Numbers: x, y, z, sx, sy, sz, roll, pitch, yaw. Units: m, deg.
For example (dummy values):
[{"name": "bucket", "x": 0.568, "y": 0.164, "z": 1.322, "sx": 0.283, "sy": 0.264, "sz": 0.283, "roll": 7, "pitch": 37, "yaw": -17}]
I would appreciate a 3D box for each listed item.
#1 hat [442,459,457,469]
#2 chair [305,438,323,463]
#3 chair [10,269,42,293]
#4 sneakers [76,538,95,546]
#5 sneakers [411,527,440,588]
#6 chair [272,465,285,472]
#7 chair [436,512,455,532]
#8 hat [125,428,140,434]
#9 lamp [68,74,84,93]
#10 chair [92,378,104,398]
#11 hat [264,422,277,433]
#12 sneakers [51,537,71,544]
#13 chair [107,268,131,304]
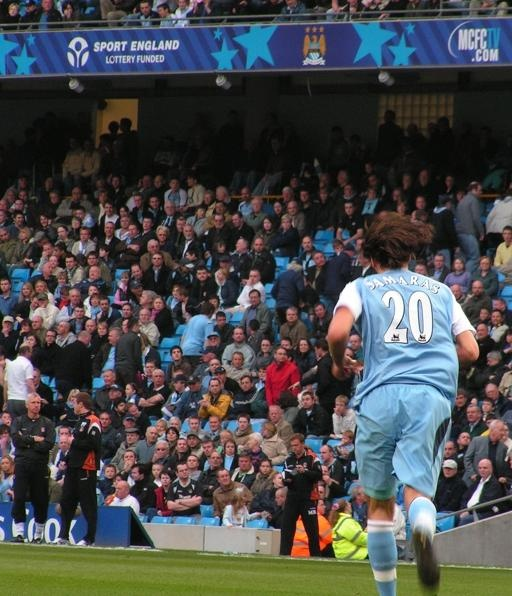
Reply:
[{"name": "hat", "x": 2.472, "y": 2.107, "z": 20.676, "sx": 0.178, "sy": 0.126, "sz": 0.320, "roll": -4, "pitch": -6, "yaw": 6}, {"name": "chair", "x": 0.796, "y": 2.008, "z": 22.192, "sx": 0.248, "sy": 0.329, "sz": 0.274, "roll": -1, "pitch": -14, "yaw": 5}, {"name": "chair", "x": -4.332, "y": -0.348, "z": 30.091, "sx": 0.486, "sy": 0.626, "sz": 0.553, "roll": -1, "pitch": -7, "yaw": 3}, {"name": "sneakers", "x": -2.058, "y": 2.938, "z": 19.598, "sx": 0.224, "sy": 0.091, "sz": 0.082, "roll": -4, "pitch": -11, "yaw": 17}, {"name": "sneakers", "x": 1.371, "y": 2.091, "z": 13.069, "sx": 0.173, "sy": 0.479, "sz": 0.212, "roll": -15, "pitch": -14, "yaw": -2}, {"name": "chair", "x": 0.301, "y": 2.258, "z": 21.543, "sx": 0.140, "sy": 0.104, "sz": 0.432, "roll": -4, "pitch": -6, "yaw": 0}, {"name": "chair", "x": 2.400, "y": 2.825, "z": 20.478, "sx": 0.253, "sy": 0.251, "sz": 0.944, "roll": -4, "pitch": -6, "yaw": 6}, {"name": "hat", "x": -1.737, "y": 1.865, "z": 22.872, "sx": 0.181, "sy": 0.083, "sz": 0.164, "roll": -3, "pitch": -6, "yaw": -5}, {"name": "lamp", "x": -3.498, "y": -4.154, "z": 31.420, "sx": 0.232, "sy": 0.253, "sz": 0.748, "roll": -3, "pitch": -6, "yaw": -3}, {"name": "chair", "x": -2.406, "y": 1.364, "z": 24.856, "sx": 0.292, "sy": 0.340, "sz": 0.302, "roll": 0, "pitch": -7, "yaw": -6}, {"name": "hat", "x": 0.183, "y": 1.731, "z": 21.806, "sx": 0.154, "sy": 0.153, "sz": 0.120, "roll": -10, "pitch": 6, "yaw": -26}, {"name": "sneakers", "x": -2.390, "y": 2.979, "z": 19.872, "sx": 0.233, "sy": 0.095, "sz": 0.083, "roll": 6, "pitch": 0, "yaw": 27}, {"name": "chair", "x": -2.467, "y": -0.192, "z": 27.606, "sx": 0.516, "sy": 0.684, "sz": 0.573, "roll": 1, "pitch": 0, "yaw": 9}]
